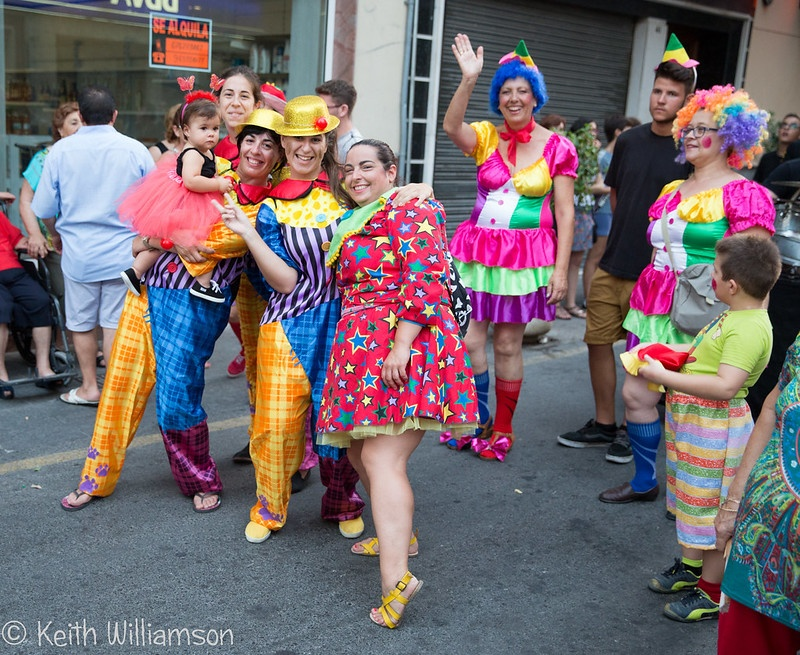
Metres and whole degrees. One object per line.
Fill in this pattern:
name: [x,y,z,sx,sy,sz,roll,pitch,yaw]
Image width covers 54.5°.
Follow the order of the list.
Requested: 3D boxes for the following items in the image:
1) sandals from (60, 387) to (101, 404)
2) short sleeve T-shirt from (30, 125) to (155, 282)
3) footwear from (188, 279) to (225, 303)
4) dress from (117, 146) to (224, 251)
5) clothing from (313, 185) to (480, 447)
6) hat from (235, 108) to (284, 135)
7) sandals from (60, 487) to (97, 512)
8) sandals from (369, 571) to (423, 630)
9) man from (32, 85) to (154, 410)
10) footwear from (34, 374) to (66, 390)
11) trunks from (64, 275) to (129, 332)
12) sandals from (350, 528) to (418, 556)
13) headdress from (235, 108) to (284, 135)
sandals: [-2.211,0.483,5.393,0.255,0.074,0.130,8,11,-2]
short sleeve T-shirt: [-2.116,-0.876,5.337,0.882,1.030,0.427,-7,32,-33]
footwear: [-0.942,-0.179,3.856,0.171,0.091,0.073,20,5,-26]
dress: [-1.072,-0.587,3.999,0.679,0.314,0.678,-3,8,-18]
clothing: [-0.002,-0.059,3.202,0.641,0.972,0.482,1,15,0]
hat: [-0.627,-0.966,3.588,0.173,0.060,0.168,-3,-1,18]
sandals: [-1.654,0.895,4.041,0.081,0.044,0.155,15,14,26]
sandals: [-0.015,1.131,3.183,0.096,0.285,0.166,-1,45,-48]
man: [-2.147,-0.567,5.472,0.771,2.144,0.631,0,4,-9]
footwear: [-2.473,0.380,5.490,0.304,0.116,0.088,-2,11,26]
trunks: [-2.010,-0.174,5.158,0.351,0.446,0.263,0,15,-34]
sandals: [-0.050,1.050,3.770,0.390,0.147,0.152,3,6,-2]
headdress: [-0.627,-0.967,3.581,0.173,0.060,0.168,-3,-1,18]
